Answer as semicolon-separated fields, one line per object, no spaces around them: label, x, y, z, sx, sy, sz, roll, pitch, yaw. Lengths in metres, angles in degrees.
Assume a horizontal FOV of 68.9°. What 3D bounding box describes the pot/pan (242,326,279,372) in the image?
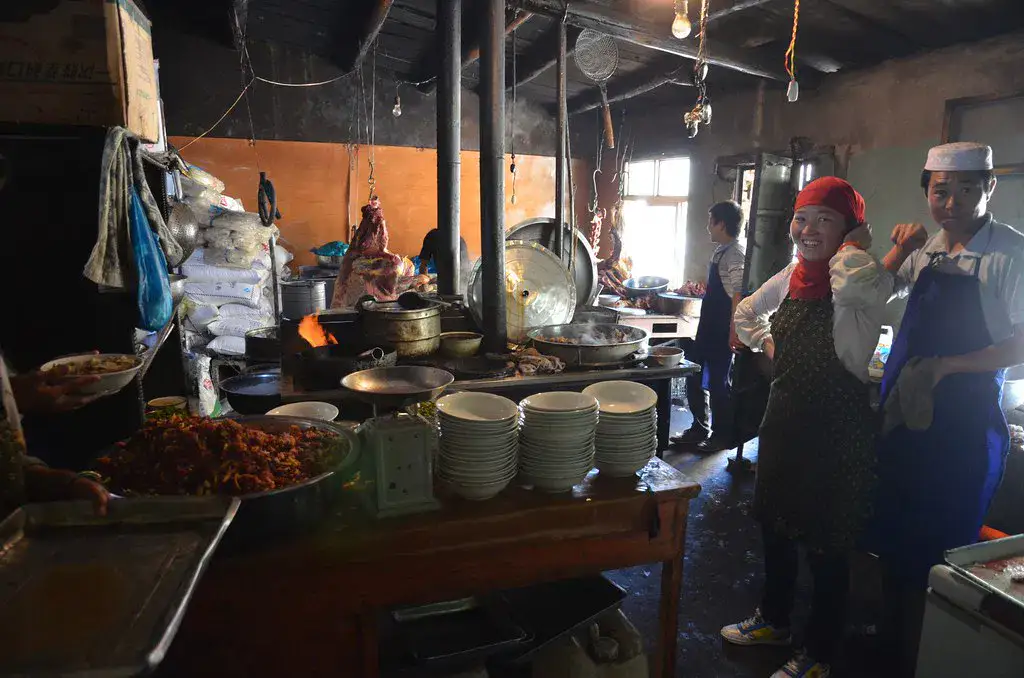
pot/pan;-1.927;0.057;5.735;0.219;0.288;0.756;-3;11;-21

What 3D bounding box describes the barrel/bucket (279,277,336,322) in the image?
barrel/bucket;-1.863;-0.356;6.707;0.531;0.434;0.516;2;12;0

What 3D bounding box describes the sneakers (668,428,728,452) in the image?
sneakers;1.677;0.921;6.698;0.496;0.210;0.177;5;0;-1

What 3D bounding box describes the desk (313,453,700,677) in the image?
desk;0.025;0.921;3.300;1.593;0.979;0.838;-4;14;-16

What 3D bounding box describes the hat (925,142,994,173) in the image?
hat;2.347;-0.953;3.971;0.243;0.114;0.238;-11;12;-14

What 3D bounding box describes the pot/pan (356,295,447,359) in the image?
pot/pan;-0.672;-0.059;4.693;0.425;0.268;0.385;1;9;4

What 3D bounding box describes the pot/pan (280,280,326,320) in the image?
pot/pan;-1.906;-0.353;6.768;0.380;0.322;0.380;2;13;1

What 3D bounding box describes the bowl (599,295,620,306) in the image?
bowl;1.005;-0.401;7.732;0.211;0.092;0.453;3;11;11

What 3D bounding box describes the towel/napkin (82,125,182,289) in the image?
towel/napkin;-2.050;-0.688;3.973;0.268;0.847;0.647;-1;11;-11

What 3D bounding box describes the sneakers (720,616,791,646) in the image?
sneakers;1.401;1.698;4.385;0.437;0.178;0.156;2;2;6

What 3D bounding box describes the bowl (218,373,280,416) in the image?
bowl;-1.613;0.334;4.609;0.350;0.244;0.718;-3;11;-20

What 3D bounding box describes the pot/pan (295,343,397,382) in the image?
pot/pan;-0.983;0.135;4.423;0.645;0.203;0.392;8;12;33

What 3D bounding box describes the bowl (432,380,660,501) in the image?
bowl;0.025;0.442;3.358;0.633;0.287;0.473;-2;8;-4

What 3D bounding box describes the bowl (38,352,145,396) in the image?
bowl;-2.036;0.162;3.676;0.321;0.110;0.315;4;8;-1
